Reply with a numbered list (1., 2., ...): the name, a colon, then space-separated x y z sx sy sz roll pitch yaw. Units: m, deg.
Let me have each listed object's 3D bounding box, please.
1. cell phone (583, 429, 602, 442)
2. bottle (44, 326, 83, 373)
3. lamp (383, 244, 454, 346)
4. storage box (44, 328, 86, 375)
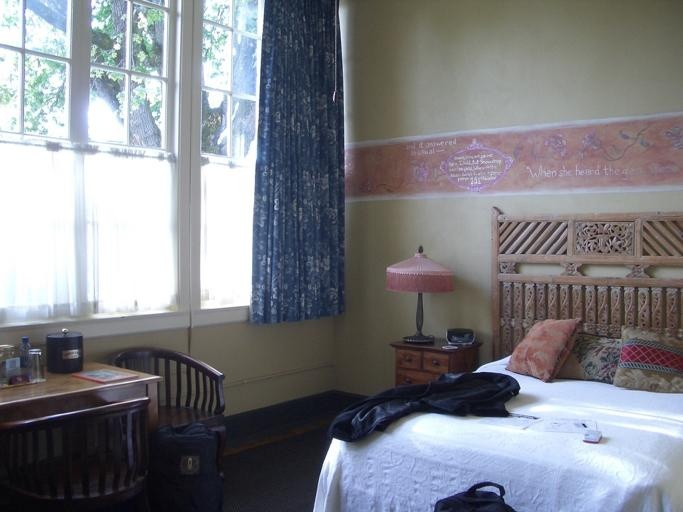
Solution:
1. cell phone: 1.344 0.961 2.852 0.083 0.027 0.122 -2 2 33
2. bottle: -1.817 0.609 3.563 0.247 0.297 0.235 3 -1 0
3. lamp: 0.727 0.345 4.919 0.597 0.879 0.627 0 4 -5
4. storage box: -1.794 0.614 3.537 0.234 0.298 0.251 2 -1 39
